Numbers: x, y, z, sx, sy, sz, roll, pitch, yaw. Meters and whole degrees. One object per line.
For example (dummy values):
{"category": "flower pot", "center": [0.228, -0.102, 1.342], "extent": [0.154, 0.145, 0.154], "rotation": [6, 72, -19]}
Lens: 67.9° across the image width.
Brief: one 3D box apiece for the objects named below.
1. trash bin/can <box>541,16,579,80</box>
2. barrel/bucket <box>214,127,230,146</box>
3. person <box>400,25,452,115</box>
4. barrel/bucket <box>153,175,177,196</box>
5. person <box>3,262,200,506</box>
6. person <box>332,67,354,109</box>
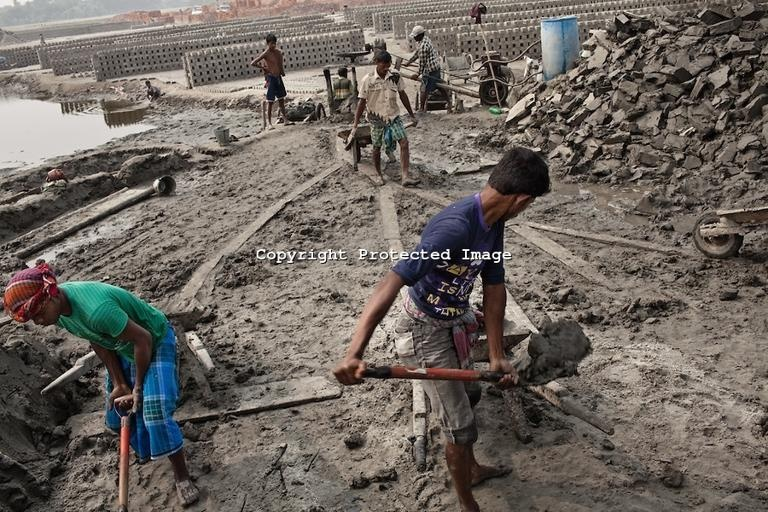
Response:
{"category": "trash bin/can", "center": [3.601, -4.257, 11.659], "extent": [0.774, 1.170, 0.597], "rotation": [3, 25, 17]}
{"category": "barrel/bucket", "center": [-3.605, -2.696, 12.708], "extent": [0.369, 0.315, 0.406], "rotation": [2, 47, -3]}
{"category": "person", "center": [0.981, -4.108, 12.450], "extent": [0.765, 1.764, 0.725], "rotation": [-12, 30, -12]}
{"category": "barrel/bucket", "center": [-4.188, -1.347, 10.960], "extent": [0.357, 0.376, 0.383], "rotation": [-5, 25, 2]}
{"category": "person", "center": [-2.116, 1.007, 4.779], "extent": [1.121, 2.076, 0.695], "rotation": [2, 25, 15]}
{"category": "person", "center": [-0.989, -3.813, 13.434], "extent": [0.439, 1.418, 0.434], "rotation": [4, 44, -2]}
